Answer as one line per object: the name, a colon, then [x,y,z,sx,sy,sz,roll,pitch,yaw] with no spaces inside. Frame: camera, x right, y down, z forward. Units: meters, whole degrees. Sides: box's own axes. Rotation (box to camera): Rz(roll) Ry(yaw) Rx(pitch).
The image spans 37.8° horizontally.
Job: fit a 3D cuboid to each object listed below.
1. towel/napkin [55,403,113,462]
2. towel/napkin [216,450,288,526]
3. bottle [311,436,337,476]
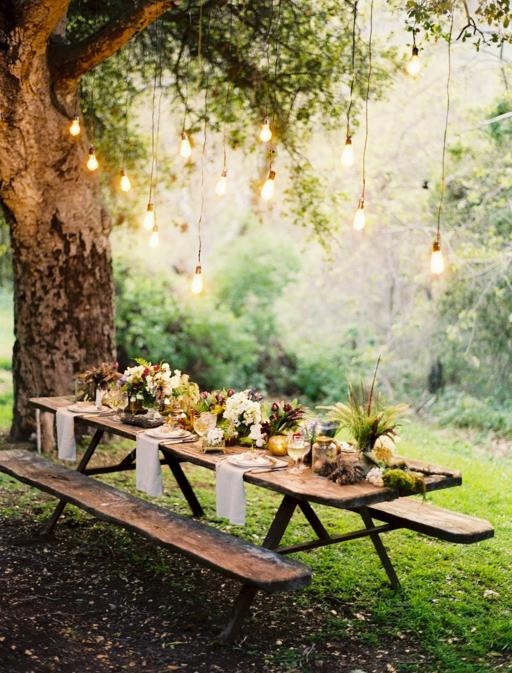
towel/napkin: [-1.230,0.631,5.175,0.401,0.387,0.435,1,0,-31]
towel/napkin: [0.001,0.783,3.786,0.428,0.329,0.410,7,-21,-32]
bottle: [0.340,0.591,3.723,0.131,0.166,0.169,2,4,6]
